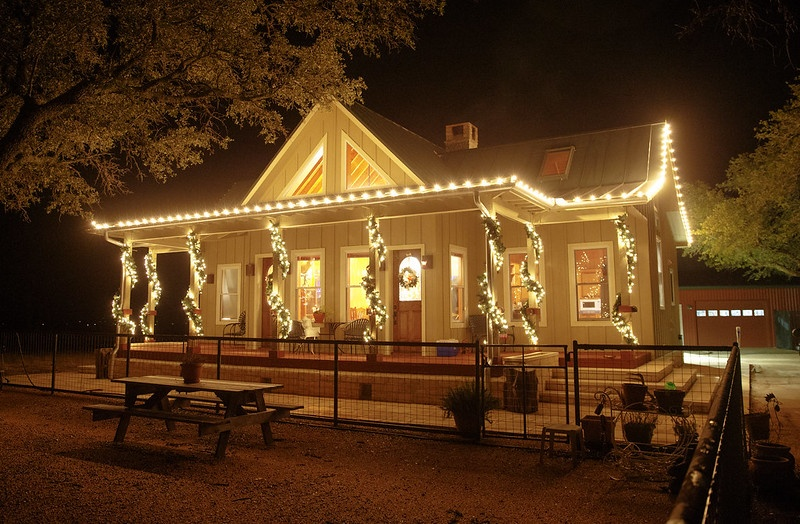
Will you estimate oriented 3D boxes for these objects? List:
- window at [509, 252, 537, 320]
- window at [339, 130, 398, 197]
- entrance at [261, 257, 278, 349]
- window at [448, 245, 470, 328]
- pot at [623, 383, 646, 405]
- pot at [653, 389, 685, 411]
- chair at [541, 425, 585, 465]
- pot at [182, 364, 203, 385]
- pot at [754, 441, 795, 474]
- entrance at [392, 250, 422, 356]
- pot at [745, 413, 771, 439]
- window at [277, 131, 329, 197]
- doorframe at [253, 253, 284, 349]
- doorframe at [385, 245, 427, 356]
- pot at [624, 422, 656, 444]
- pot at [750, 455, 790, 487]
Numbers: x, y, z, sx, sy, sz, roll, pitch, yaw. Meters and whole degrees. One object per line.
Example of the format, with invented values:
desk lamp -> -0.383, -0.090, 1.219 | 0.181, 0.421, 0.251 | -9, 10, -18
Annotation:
window -> 3.692, 0.791, 20.103 | 1.088, 1.780, 0.375 | -2, 5, 13
window -> -0.976, -2.918, 19.035 | 1.588, 0.072, 1.924 | -8, -45, -17
entrance -> -4.553, 1.268, 22.007 | 0.529, 2.957, 0.157 | 2, 12, -1
window -> 1.722, 0.829, 19.946 | 0.177, 2.569, 1.356 | -1, -3, 31
pot -> 4.802, 2.699, 12.991 | 0.602, 0.511, 0.642 | 1, -15, 0
pot -> 5.528, 2.840, 13.032 | 0.760, 0.549, 0.802 | 0, -11, 0
chair -> 3.026, 3.344, 11.854 | 0.687, 0.648, 0.726 | -4, -10, 19
pot -> -4.288, 2.307, 12.988 | 0.354, 0.318, 0.370 | 2, -6, 0
pot -> 6.423, 3.346, 10.884 | 0.497, 0.386, 0.532 | -1, -17, 0
entrance -> 0.255, 1.247, 19.726 | 1.022, 3.488, 0.411 | -2, 25, -2
pot -> 6.824, 3.131, 12.090 | 0.436, 0.413, 0.502 | -6, -13, 28
window -> -2.747, -2.827, 19.453 | 1.521, 0.257, 2.561 | -14, -32, -26
doorframe -> -4.485, 1.358, 22.038 | 0.605, 2.967, 0.172 | 2, 6, 9
doorframe -> 0.267, 1.257, 19.675 | 0.999, 3.483, 0.394 | -1, 21, 1
pot -> 4.291, 3.096, 11.460 | 0.496, 0.380, 0.371 | -4, -17, 22
pot -> 6.109, 3.456, 10.481 | 0.467, 0.381, 0.476 | 0, -17, 0
